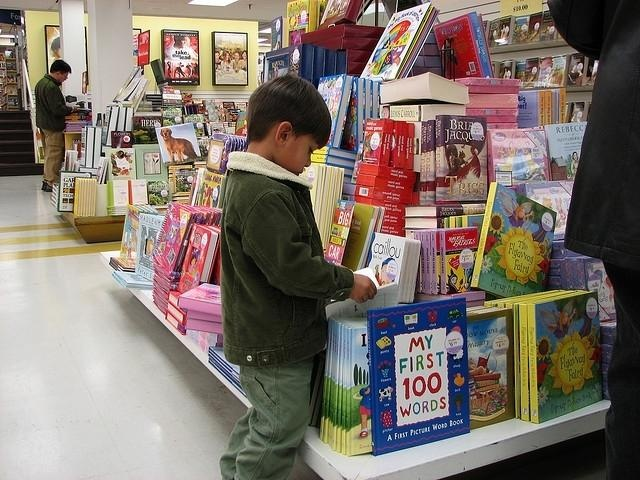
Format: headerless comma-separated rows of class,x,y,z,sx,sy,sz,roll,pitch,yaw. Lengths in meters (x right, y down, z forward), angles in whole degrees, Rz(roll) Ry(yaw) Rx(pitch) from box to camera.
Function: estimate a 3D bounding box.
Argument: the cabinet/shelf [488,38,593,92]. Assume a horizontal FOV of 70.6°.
cabinet/shelf,2.419,-1.768,4.894,0.226,0.370,0.942,-9,15,-43
